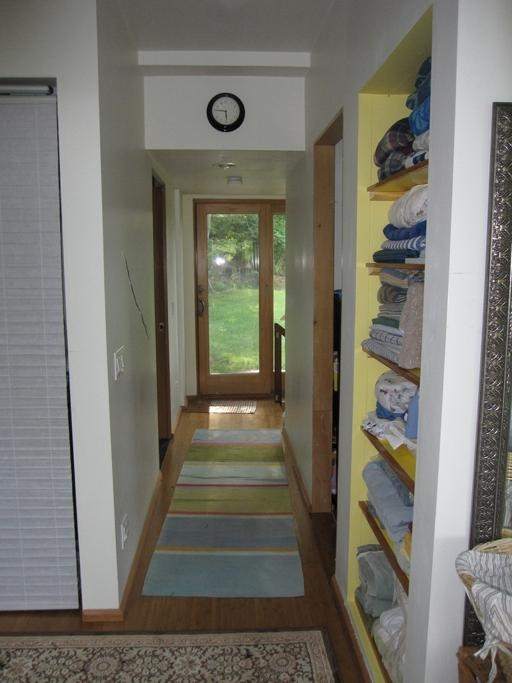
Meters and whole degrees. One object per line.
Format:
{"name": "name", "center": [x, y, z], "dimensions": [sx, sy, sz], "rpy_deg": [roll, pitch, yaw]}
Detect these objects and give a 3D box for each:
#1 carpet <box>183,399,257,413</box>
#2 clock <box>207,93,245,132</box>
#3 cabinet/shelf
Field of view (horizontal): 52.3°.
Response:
{"name": "carpet", "center": [-0.377, 0.668, 5.549], "dimensions": [0.747, 0.076, 0.527], "rpy_deg": [-1, 7, 0]}
{"name": "clock", "center": [-0.173, -1.338, 3.089], "dimensions": [0.184, 0.228, 0.043], "rpy_deg": [1, 7, -3]}
{"name": "cabinet/shelf", "center": [0.425, 0.303, 1.721], "dimensions": [0.199, 1.617, 0.772], "rpy_deg": [0, 6, 10]}
